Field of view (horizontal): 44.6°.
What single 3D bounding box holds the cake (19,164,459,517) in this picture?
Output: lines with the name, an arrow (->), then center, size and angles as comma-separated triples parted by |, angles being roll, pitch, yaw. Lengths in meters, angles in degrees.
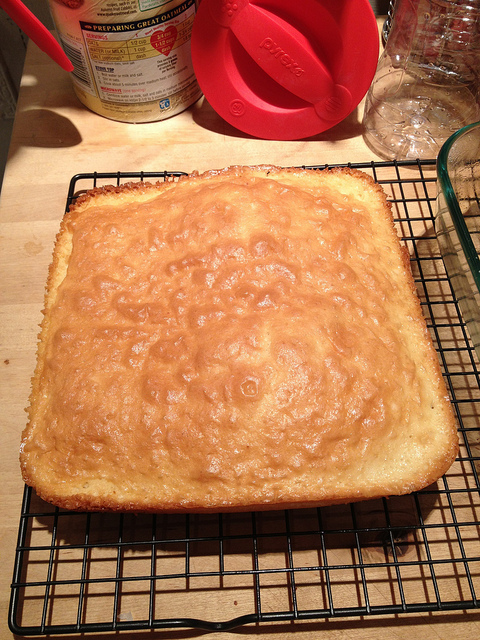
cake -> -0.014, -0.012, 0.946 | 0.665, 0.170, 0.594 | -4, 63, -1
